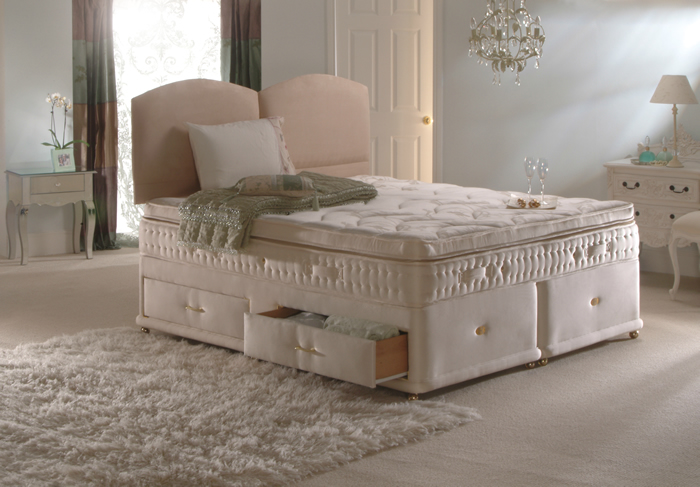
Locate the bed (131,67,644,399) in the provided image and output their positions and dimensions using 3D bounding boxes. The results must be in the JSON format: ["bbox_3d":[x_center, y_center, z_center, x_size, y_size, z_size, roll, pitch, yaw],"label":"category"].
[{"bbox_3d":[0.184,-0.260,4.150,2.593,1.637,2.761,-8,12,-33],"label":"bed"}]

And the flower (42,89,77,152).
[{"bbox_3d":[-2.632,-1.108,5.709,0.275,0.493,0.216,-5,13,-23],"label":"flower"}]

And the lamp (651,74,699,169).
[{"bbox_3d":[2.514,-0.970,4.966,0.330,0.686,0.523,6,13,24],"label":"lamp"}]
